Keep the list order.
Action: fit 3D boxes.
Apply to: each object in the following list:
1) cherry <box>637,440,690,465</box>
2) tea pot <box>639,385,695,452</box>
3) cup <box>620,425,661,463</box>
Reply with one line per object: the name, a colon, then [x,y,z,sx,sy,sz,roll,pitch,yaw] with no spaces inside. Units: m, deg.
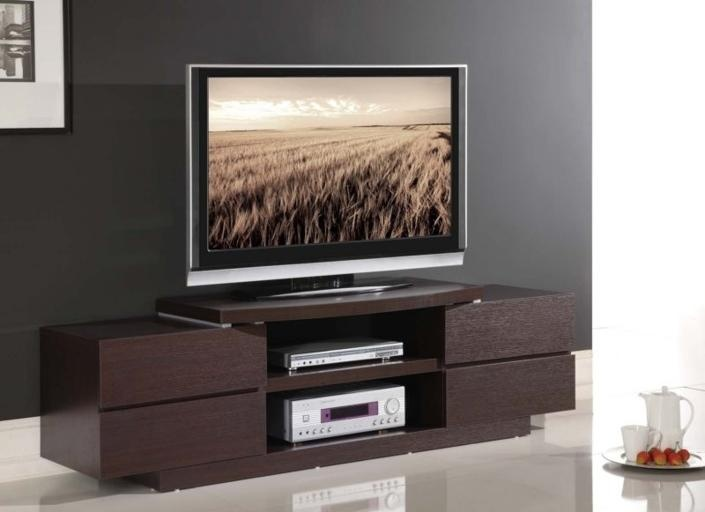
cherry: [1.410,0.893,2.873,0.167,0.054,0.103,-3,-3,2]
tea pot: [1.423,0.725,2.863,0.233,0.313,0.140,-2,1,-31]
cup: [1.340,0.873,2.912,0.119,0.161,0.174,4,-6,-41]
